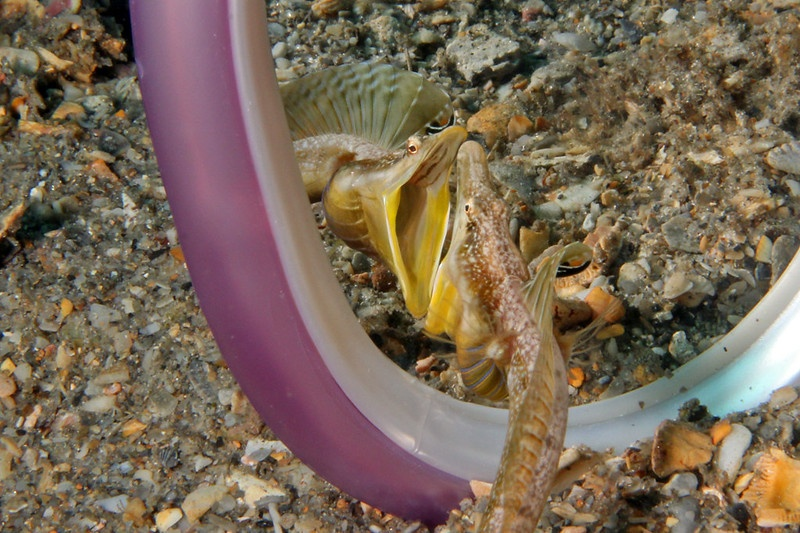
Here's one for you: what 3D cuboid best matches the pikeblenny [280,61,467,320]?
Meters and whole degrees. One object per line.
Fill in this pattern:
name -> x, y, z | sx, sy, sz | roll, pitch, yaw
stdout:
pikeblenny -> -0.073, -0.327, 2.395 | 0.474, 0.322, 0.761 | 2, 62, -32
